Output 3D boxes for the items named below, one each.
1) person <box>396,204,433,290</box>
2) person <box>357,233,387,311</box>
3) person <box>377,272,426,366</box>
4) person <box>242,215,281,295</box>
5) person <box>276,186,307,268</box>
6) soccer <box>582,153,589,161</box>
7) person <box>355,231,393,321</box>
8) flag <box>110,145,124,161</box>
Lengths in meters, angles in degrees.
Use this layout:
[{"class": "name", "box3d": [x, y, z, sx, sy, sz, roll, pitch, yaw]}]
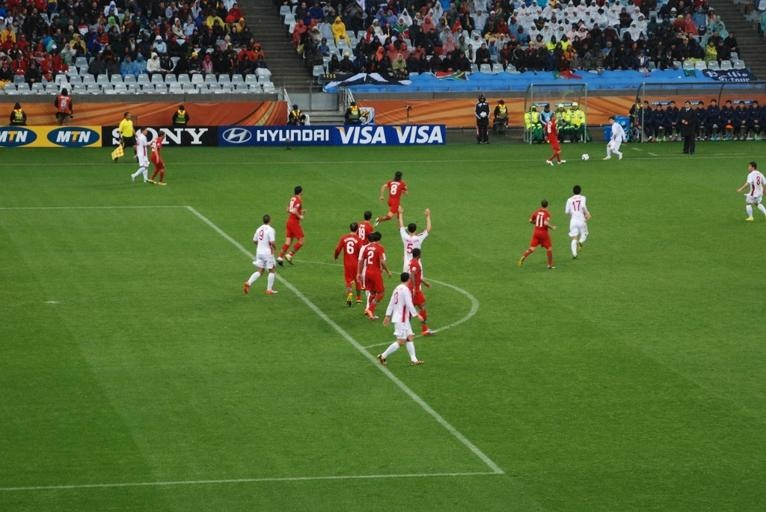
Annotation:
[{"class": "person", "box3d": [1.101, -0.423, 45.090, 1.308, 2.538, 0.977, 5, -1, -6]}, {"class": "person", "box3d": [-0.352, 0.616, 44.000, 1.041, 2.876, 1.232, 4, 14, 20]}, {"class": "person", "box3d": [0.450, 1.961, 41.011, 1.476, 2.748, 1.121, -3, 6, -30]}, {"class": "person", "box3d": [-3.992, -0.045, 46.187, 1.492, 2.863, 1.173, -1, -2, 33]}, {"class": "person", "box3d": [-3.158, -1.110, 48.880, 1.473, 2.772, 0.990, -2, 6, -24]}, {"class": "soccer", "box3d": [10.468, -5.089, 68.460, 0.349, 0.310, 0.424, -2, 5, -12]}, {"class": "person", "box3d": [-0.251, 0.645, 43.881, 1.173, 2.889, 1.031, 1, 10, 0]}, {"class": "flag", "box3d": [-13.278, -5.152, 66.601, 0.231, 0.846, 0.866, 36, -14, -26]}]
